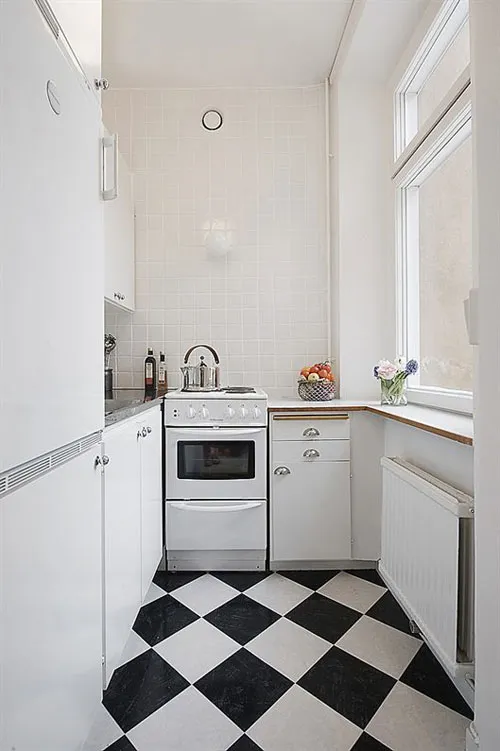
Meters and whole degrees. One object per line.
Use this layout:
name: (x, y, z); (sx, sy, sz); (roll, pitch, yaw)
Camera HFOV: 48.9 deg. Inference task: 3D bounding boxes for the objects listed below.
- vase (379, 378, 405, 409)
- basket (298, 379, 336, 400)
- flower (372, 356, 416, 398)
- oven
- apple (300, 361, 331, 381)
vase: (0.600, 0.079, 2.346); (0.093, 0.128, 0.102); (0, -2, 4)
basket: (0.318, 0.075, 2.611); (0.159, 0.104, 0.139); (0, 4, 4)
flower: (0.608, -0.011, 2.324); (0.152, 0.181, 0.161); (4, 7, 31)
oven: (-0.128, 0.465, 2.427); (0.431, 0.705, 0.464); (0, -8, -2)
apple: (0.326, -0.012, 2.627); (0.136, 0.077, 0.114); (-1, 5, -14)
